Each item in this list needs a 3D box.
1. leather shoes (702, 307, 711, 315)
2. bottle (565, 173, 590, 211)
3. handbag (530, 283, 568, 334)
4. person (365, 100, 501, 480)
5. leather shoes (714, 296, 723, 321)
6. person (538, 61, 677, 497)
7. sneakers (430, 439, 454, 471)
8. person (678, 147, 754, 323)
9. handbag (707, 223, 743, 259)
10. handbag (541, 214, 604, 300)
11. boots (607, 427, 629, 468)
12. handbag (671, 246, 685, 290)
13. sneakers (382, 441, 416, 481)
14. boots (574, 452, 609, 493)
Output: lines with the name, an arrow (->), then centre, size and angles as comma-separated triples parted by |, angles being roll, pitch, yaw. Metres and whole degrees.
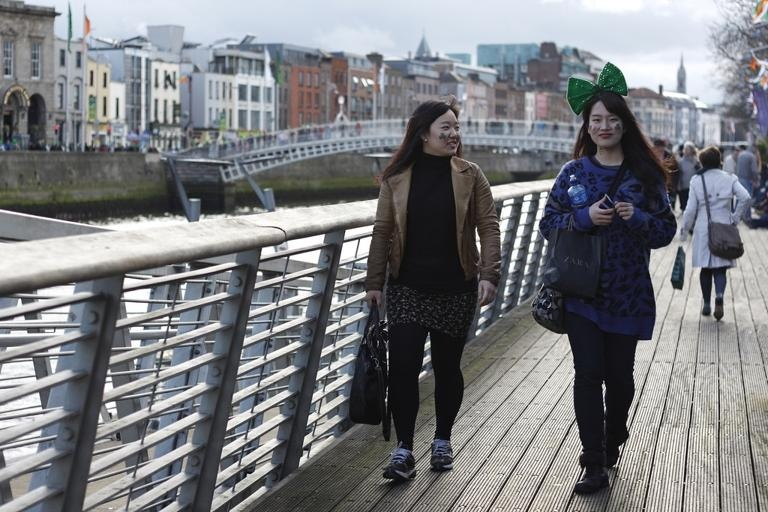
leather shoes -> 3.802, 0.659, 7.650 | 0.069, 0.119, 0.112 | 1, -4, -5
bottle -> 1.006, -0.337, 3.367 | 0.105, 0.158, 0.056 | 0, -11, -35
handbag -> 0.854, 0.271, 3.324 | 0.139, 0.113, 0.142 | -4, 31, 33
person -> 0.267, 0.157, 3.444 | 0.739, 1.989, 0.426 | -1, 4, -4
leather shoes -> 3.819, 0.607, 7.352 | 0.089, 0.257, 0.177 | 2, 6, 33
person -> 1.139, 0.059, 3.395 | 0.675, 2.168, 0.474 | -2, 5, -18
sneakers -> 0.324, 1.097, 3.582 | 0.115, 0.154, 0.340 | -4, -6, 11
person -> 4.038, -0.336, 7.892 | 0.745, 2.011, 1.222 | 2, 5, 29
handbag -> 4.061, -0.201, 7.627 | 0.467, 0.476, 0.243 | 10, -11, -13
handbag -> 0.973, 0.020, 3.282 | 0.292, 0.401, 0.139 | 8, -9, 9
boots -> 1.239, 1.018, 3.428 | 0.082, 0.273, 0.070 | 25, 54, 32
handbag -> 3.436, 0.152, 7.533 | 0.137, 0.463, 0.430 | -2, -31, 20
sneakers -> 0.081, 1.065, 3.376 | 0.096, 0.139, 0.277 | -1, -7, 22
boots -> 1.057, 1.077, 3.244 | 0.209, 0.164, 0.090 | -22, -8, 38
